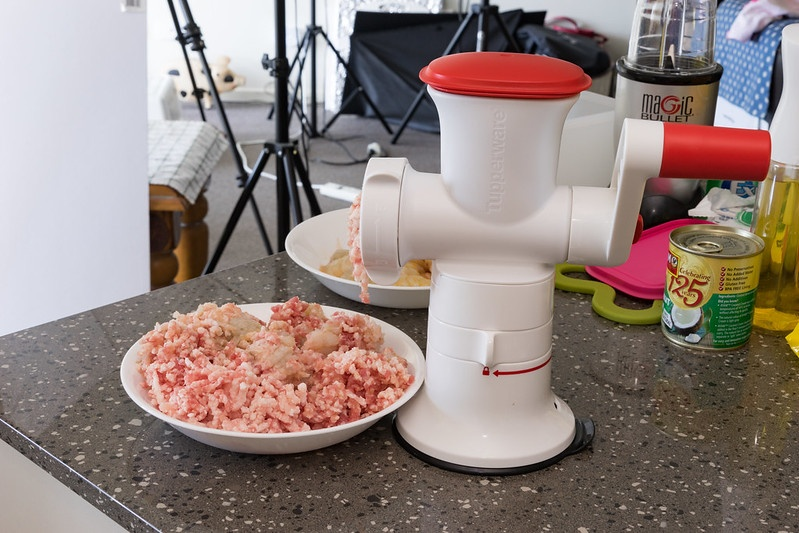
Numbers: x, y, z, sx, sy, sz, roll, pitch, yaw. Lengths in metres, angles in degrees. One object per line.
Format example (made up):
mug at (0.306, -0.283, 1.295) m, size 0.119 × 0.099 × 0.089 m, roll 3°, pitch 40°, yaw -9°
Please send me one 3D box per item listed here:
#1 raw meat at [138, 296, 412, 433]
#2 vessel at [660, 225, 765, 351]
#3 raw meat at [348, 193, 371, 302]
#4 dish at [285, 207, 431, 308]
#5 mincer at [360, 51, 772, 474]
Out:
raw meat at (-0.194, 0.107, 0.857) m, size 0.249 × 0.078 × 0.253 m, roll 3°, pitch 28°, yaw 27°
vessel at (0.439, 0.029, 0.976) m, size 0.125 × 0.136 × 0.124 m, roll -13°, pitch 23°, yaw -21°
raw meat at (-0.042, -0.020, 0.814) m, size 0.024 × 0.123 × 0.031 m, roll 4°, pitch 19°, yaw 9°
dish at (-0.103, -0.025, 1.128) m, size 0.178 × 0.045 × 0.191 m, roll 19°, pitch 26°, yaw 29°
mincer at (0.171, -0.020, 0.801) m, size 0.406 × 0.417 × 0.230 m, roll -15°, pitch 32°, yaw -22°
